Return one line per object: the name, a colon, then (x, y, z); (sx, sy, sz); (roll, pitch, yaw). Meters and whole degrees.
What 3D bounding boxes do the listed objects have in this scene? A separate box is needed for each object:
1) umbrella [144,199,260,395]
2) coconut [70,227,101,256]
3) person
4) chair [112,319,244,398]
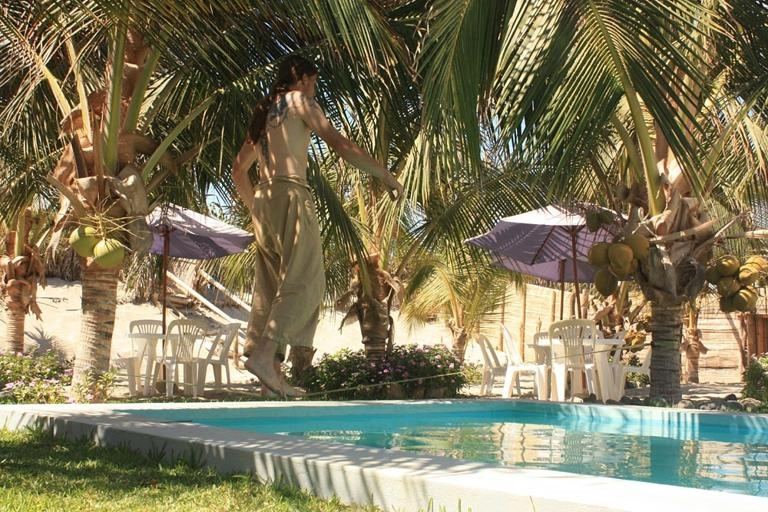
umbrella: (-3.683, 0.567, 13.185); (2.407, 2.868, 2.415); (0, -4, 32)
coconut: (-3.094, -0.154, 7.610); (0.255, 0.284, 0.352); (9, -16, -28)
person: (-0.734, -0.305, 6.591); (1.396, 3.088, 0.997); (-10, -17, 35)
chair: (-3.519, 1.664, 12.498); (2.147, 1.520, 1.960); (2, -2, -30)
